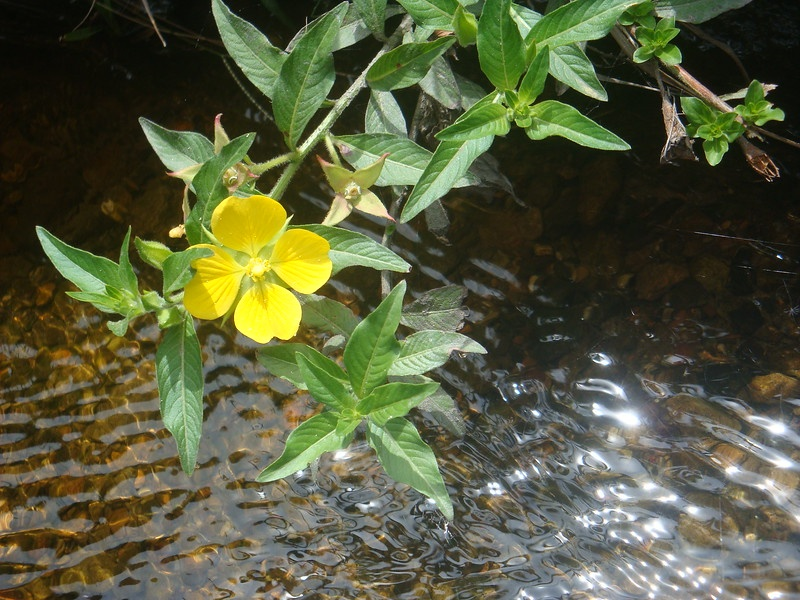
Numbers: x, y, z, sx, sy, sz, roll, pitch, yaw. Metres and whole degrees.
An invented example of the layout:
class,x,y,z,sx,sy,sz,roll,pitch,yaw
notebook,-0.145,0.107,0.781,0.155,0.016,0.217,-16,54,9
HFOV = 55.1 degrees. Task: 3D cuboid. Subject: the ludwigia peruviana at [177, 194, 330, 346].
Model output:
class,x,y,z,sx,sy,sz,roll,pitch,yaw
ludwigia peruviana,-0.654,-0.188,3.348,0.640,0.158,0.628,-7,32,-7
